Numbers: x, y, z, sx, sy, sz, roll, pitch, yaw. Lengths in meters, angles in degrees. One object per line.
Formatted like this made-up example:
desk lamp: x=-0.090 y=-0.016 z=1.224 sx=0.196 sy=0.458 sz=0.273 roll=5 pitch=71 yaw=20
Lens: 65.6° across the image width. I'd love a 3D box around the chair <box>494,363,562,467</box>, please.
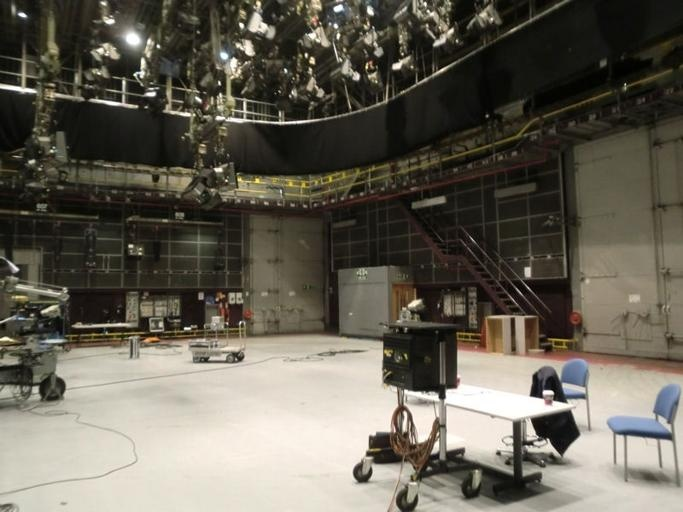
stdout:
chair: x=3.017 y=2.969 z=8.856 sx=0.852 sy=1.000 sz=0.871 roll=-21 pitch=-47 yaw=34
